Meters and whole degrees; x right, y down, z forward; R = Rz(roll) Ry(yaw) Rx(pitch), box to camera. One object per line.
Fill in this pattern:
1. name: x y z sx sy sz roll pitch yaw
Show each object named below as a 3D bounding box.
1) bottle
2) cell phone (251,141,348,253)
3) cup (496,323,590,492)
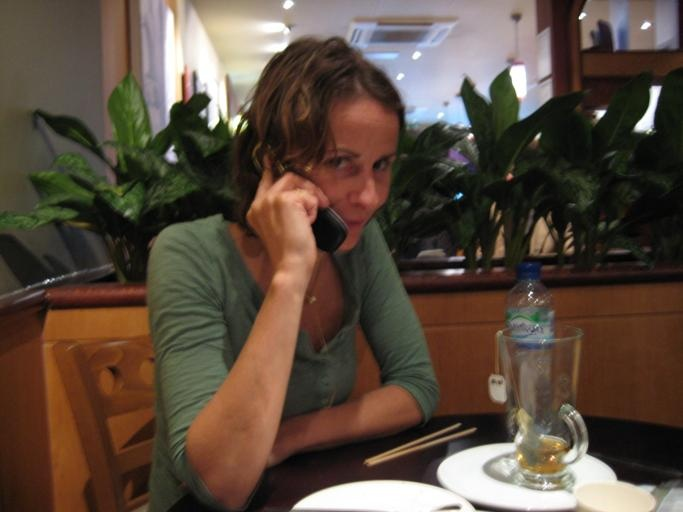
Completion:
1. bottle: 0.481 0.260 1.325 0.156 0.597 0.167 -2 3 0
2. cell phone: -0.087 -0.136 1.142 0.149 0.300 0.067 -28 20 8
3. cup: 0.332 0.256 0.893 0.105 0.323 0.118 2 5 -9
